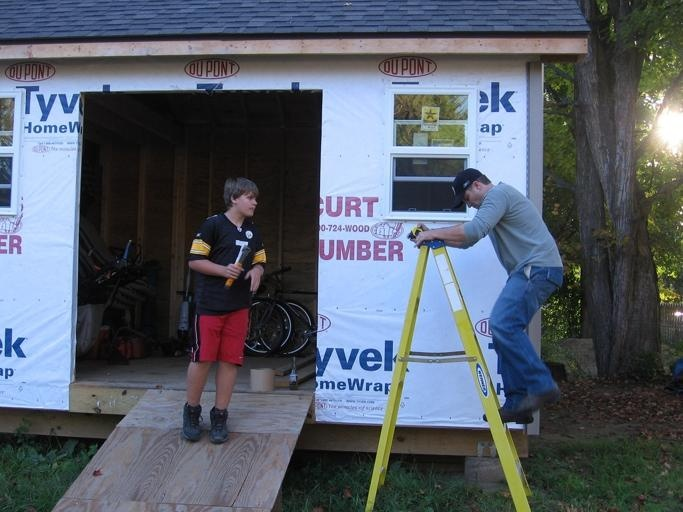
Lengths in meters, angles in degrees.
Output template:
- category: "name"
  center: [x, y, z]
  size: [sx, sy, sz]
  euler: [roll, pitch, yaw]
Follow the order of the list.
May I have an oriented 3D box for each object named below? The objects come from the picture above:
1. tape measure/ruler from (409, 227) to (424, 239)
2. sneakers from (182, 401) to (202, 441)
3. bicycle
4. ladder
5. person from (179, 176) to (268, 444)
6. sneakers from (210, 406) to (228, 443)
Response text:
- category: "tape measure/ruler"
  center: [0.652, -0.217, 6.040]
  size: [0.051, 0.121, 0.085]
  euler: [49, 12, 34]
- category: "sneakers"
  center: [-1.343, 1.519, 6.169]
  size: [0.124, 0.169, 0.372]
  euler: [1, 3, -12]
- category: "bicycle"
  center: [-0.877, 0.893, 9.478]
  size: [1.184, 1.205, 0.717]
  euler: [-1, -9, 17]
- category: "ladder"
  center: [0.995, 1.077, 6.092]
  size: [1.416, 2.418, 0.819]
  euler: [4, 5, 17]
- category: "person"
  center: [-1.073, 0.489, 6.274]
  size: [0.717, 2.396, 0.393]
  euler: [1, 5, -15]
- category: "sneakers"
  center: [-1.105, 1.527, 6.247]
  size: [0.169, 0.327, 0.169]
  euler: [1, 5, -15]
